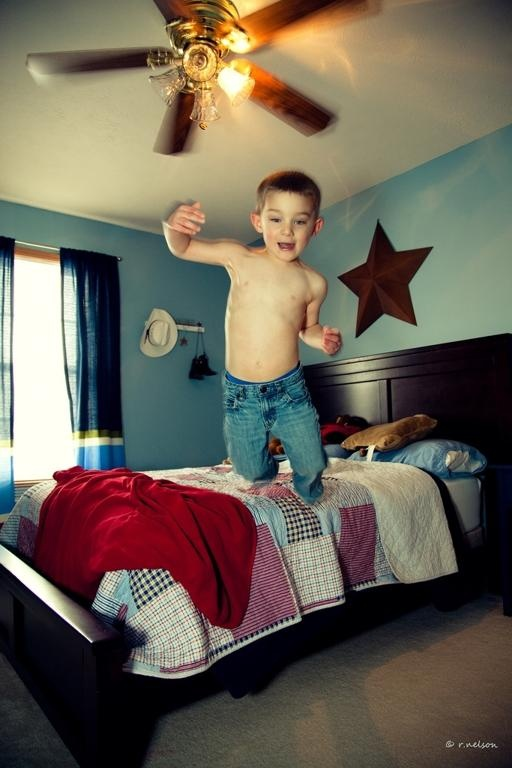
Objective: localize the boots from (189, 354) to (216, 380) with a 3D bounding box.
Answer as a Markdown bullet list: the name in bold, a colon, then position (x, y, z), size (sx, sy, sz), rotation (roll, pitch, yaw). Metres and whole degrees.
- **boots**: position (-0.426, -0.125, 4.448), size (0.270, 0.203, 0.108), rotation (-1, 3, -37)

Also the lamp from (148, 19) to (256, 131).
- **lamp**: position (-0.182, -1.029, 1.886), size (0.121, 0.308, 0.285), rotation (-56, 6, -38)

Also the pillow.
- **pillow**: position (0.648, 0.289, 2.702), size (0.412, 0.172, 0.570), rotation (-5, 0, -19)

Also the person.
- **person**: position (0.005, -0.135, 1.803), size (0.590, 1.021, 0.377), rotation (0, 0, -15)
